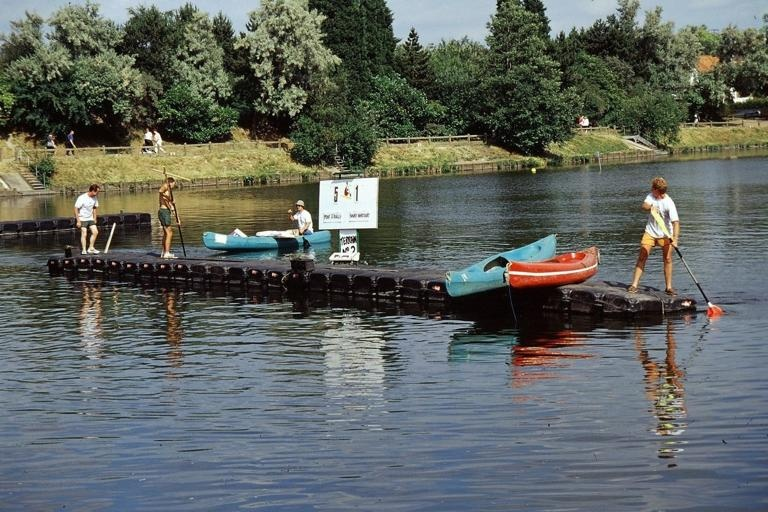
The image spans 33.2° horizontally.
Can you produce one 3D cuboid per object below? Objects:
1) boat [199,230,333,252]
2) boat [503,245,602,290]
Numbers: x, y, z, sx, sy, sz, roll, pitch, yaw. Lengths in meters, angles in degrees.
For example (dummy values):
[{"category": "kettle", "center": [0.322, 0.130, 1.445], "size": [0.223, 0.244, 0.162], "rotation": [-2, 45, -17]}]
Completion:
[{"category": "boat", "center": [-5.705, -0.697, 62.675], "size": [6.449, 0.959, 1.100], "rotation": [0, -3, -39]}, {"category": "boat", "center": [6.936, 0.535, 51.234], "size": [2.065, 1.259, 6.215], "rotation": [-5, 1, 44]}]
